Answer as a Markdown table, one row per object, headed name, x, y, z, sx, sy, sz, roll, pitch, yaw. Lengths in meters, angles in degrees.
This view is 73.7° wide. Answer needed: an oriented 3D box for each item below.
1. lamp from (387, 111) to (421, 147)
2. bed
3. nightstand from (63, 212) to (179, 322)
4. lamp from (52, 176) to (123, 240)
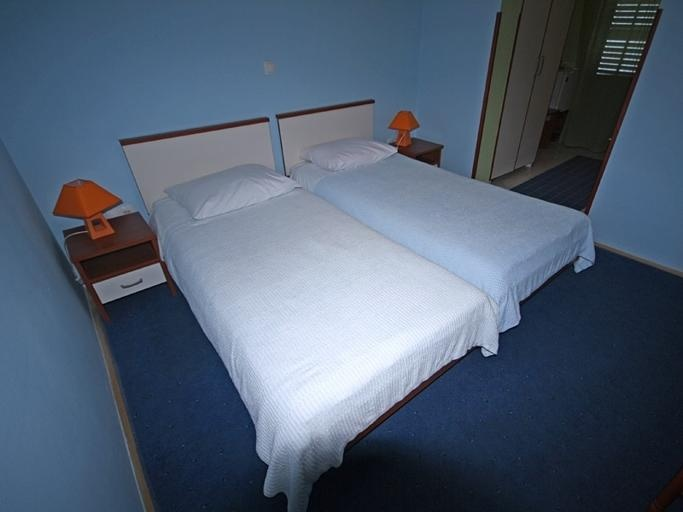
| name | x | y | z | sx | sy | sz | roll | pitch | yaw |
| --- | --- | --- | --- | --- | --- | --- | --- | --- | --- |
| lamp | 0.720 | -1.513 | 5.423 | 0.337 | 0.481 | 0.341 | 30 | 48 | 32 |
| bed | 0.273 | -0.263 | 4.085 | 3.451 | 1.699 | 2.852 | -22 | 36 | -27 |
| nightstand | -1.918 | -0.031 | 4.144 | 0.800 | 0.926 | 0.801 | -23 | 48 | -26 |
| lamp | -2.139 | -0.389 | 3.765 | 0.303 | 0.426 | 0.309 | 27 | 42 | 28 |
